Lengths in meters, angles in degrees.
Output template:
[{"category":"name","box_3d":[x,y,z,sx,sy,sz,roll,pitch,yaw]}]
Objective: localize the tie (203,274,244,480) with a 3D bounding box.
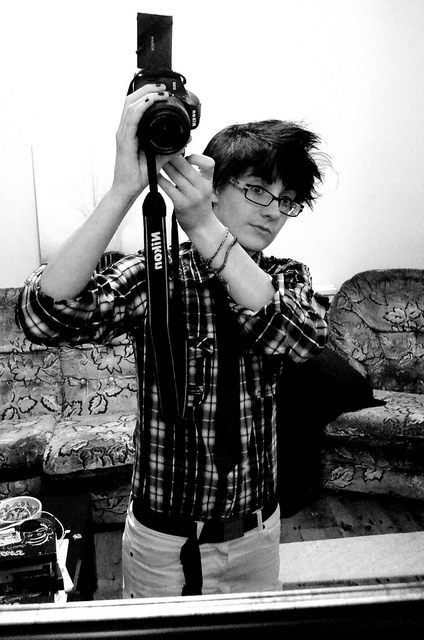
[{"category":"tie","box_3d":[0.008,0.066,0.720,0.032,0.246,0.022,-1,5,10]}]
